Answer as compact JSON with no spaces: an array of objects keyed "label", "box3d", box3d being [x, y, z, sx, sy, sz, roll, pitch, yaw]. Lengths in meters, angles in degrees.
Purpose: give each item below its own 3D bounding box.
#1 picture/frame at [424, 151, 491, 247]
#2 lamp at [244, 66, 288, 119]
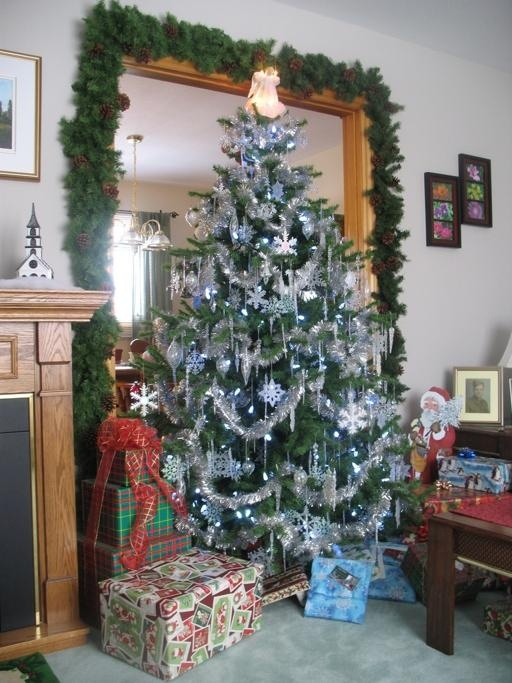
[{"label":"picture/frame","box3d":[1.335,-0.908,3.911,0.669,0.639,0.077,3,-5,-33]},{"label":"lamp","box3d":[0.041,-1.020,2.428,0.149,0.169,0.153,9,0,11]}]
